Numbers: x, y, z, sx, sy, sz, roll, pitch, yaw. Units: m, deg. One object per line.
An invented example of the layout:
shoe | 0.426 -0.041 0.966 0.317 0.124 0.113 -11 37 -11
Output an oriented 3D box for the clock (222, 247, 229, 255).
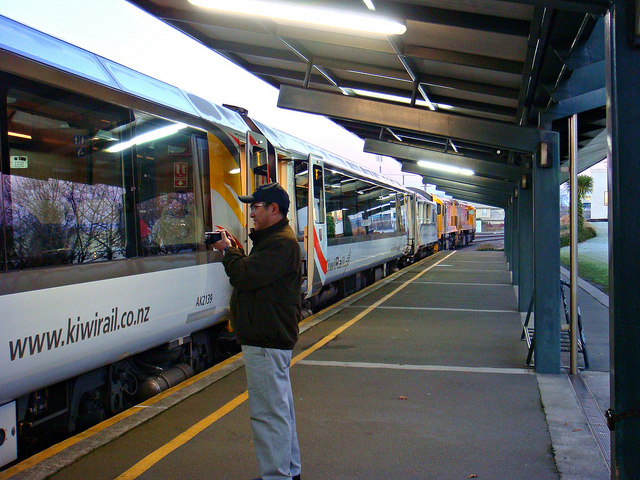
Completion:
clock | -0.789 0.092 3.884 0.038 0.029 0.039 -32 -17 -30

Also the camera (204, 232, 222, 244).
camera | -0.920 -0.016 4.003 0.128 0.104 0.103 0 -3 -5

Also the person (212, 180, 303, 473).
person | -0.435 0.744 3.767 0.632 2.402 0.415 -3 2 -13
